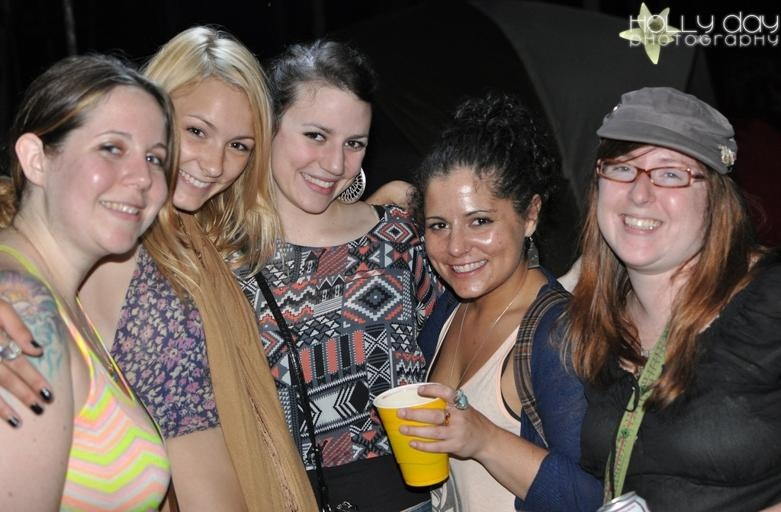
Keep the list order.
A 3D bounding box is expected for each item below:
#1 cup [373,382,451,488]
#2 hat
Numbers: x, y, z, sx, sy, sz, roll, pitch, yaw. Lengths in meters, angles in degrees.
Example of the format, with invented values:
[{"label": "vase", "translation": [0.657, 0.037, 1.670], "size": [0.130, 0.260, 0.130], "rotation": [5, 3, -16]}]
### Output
[{"label": "cup", "translation": [0.088, 0.746, 2.758], "size": [0.286, 0.417, 0.152], "rotation": [-5, 9, -3]}, {"label": "hat", "translation": [1.077, -0.490, 2.636], "size": [0.491, 0.361, 0.207], "rotation": [-1, 10, 25]}]
